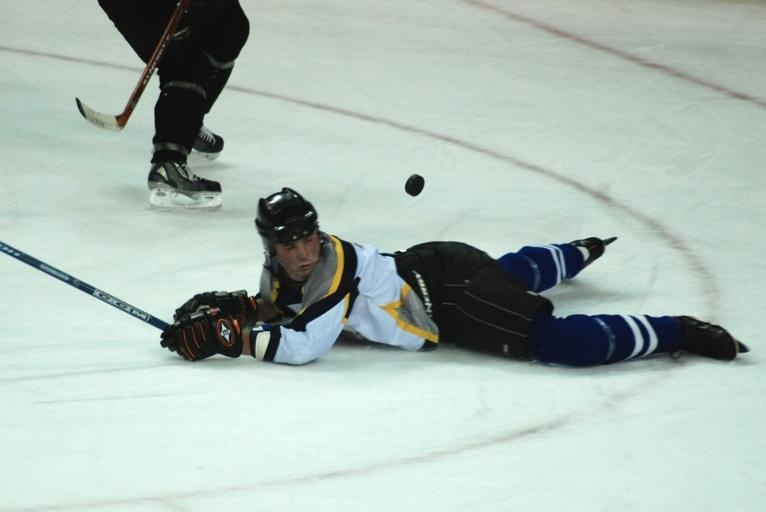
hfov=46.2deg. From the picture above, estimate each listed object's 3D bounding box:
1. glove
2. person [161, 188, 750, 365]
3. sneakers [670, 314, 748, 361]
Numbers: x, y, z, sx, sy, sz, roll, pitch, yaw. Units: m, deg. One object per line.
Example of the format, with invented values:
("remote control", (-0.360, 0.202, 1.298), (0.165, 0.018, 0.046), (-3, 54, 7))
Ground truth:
("glove", (-0.678, 0.277, 3.484), (0.335, 0.105, 0.279), (-7, 29, 9))
("person", (0.128, 0.194, 3.600), (1.886, 0.424, 0.923), (3, -4, -14))
("sneakers", (1.239, 0.321, 3.546), (0.353, 0.098, 0.133), (11, -3, 5))
